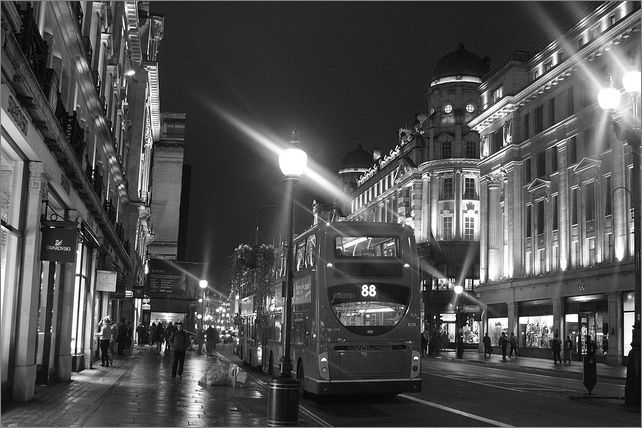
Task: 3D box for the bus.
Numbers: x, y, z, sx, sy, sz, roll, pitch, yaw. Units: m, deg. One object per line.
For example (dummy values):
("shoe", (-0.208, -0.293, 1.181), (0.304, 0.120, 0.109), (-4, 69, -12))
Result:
("bus", (0.338, 4.220, 30.953), (3.602, 5.160, 10.729), (3, -8, -13))
